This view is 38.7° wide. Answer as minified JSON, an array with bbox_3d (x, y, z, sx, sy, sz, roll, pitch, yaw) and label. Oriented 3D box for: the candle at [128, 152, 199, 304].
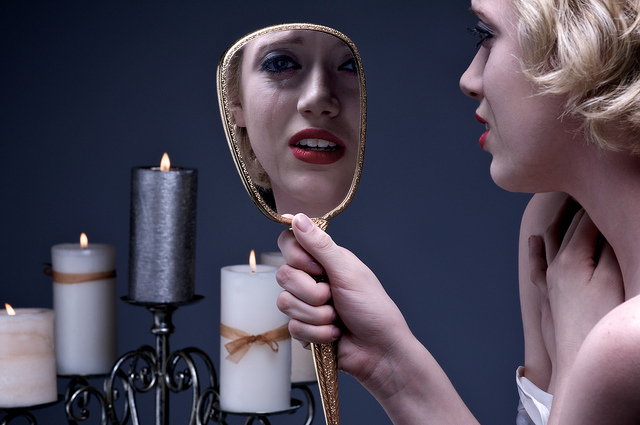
[{"bbox_3d":[-0.358,0.035,2.062,0.159,0.334,0.111,-2,1,-8],"label":"candle"}]
